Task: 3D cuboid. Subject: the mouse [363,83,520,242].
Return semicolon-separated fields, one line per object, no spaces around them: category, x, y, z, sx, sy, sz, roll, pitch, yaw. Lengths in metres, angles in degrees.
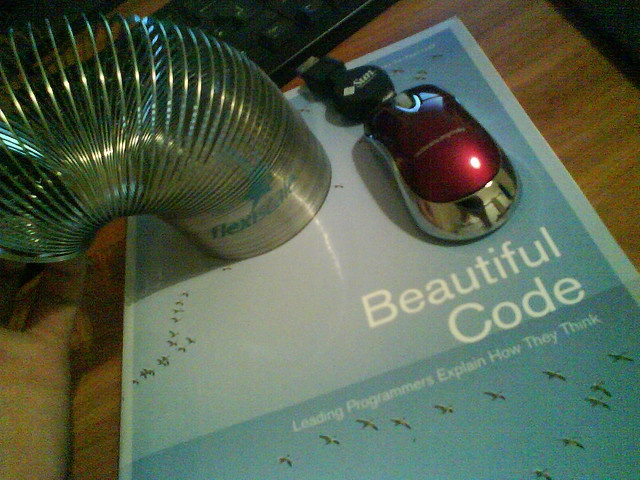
mouse;0.145;-0.093;0.675;0.135;0.176;0.122;-28;9;16
